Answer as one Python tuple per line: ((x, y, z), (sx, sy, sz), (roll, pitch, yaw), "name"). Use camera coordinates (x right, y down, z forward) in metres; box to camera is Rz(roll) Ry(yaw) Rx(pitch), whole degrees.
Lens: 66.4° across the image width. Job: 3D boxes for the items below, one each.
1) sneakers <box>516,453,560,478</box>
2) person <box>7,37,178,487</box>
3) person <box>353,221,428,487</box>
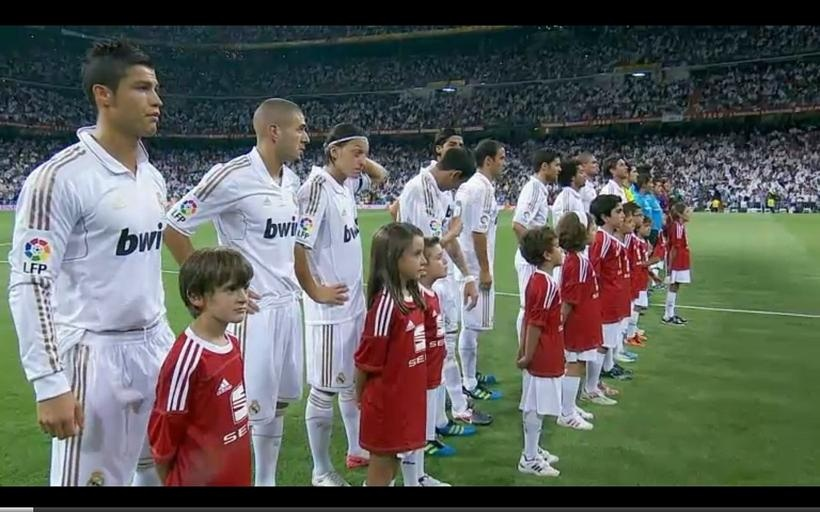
((1.380, 2.308, 6.841), (0.512, 0.215, 0.187), (2, 2, 1), "sneakers")
((-2.710, 0.179, 5.450), (1.325, 4.087, 0.839), (-11, 16, -36), "person")
((-0.186, 0.973, 6.135), (0.679, 2.532, 0.688), (-1, 13, 1), "person")
